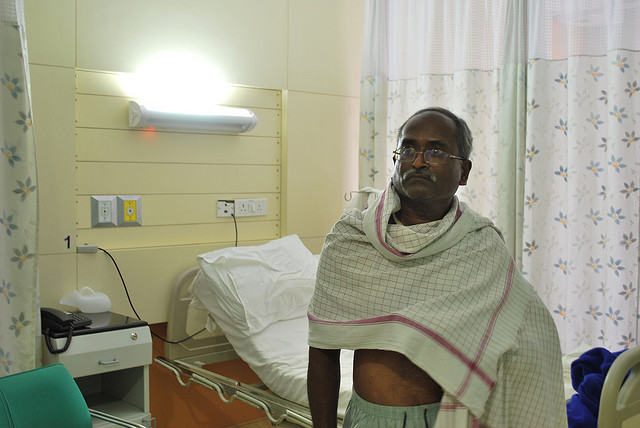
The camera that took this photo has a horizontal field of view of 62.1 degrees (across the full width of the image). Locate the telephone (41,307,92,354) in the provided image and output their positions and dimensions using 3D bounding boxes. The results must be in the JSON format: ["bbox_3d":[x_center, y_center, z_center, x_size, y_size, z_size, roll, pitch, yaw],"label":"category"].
[{"bbox_3d":[-1.437,0.647,3.021,0.195,0.087,0.286,-14,22,-29],"label":"telephone"}]
